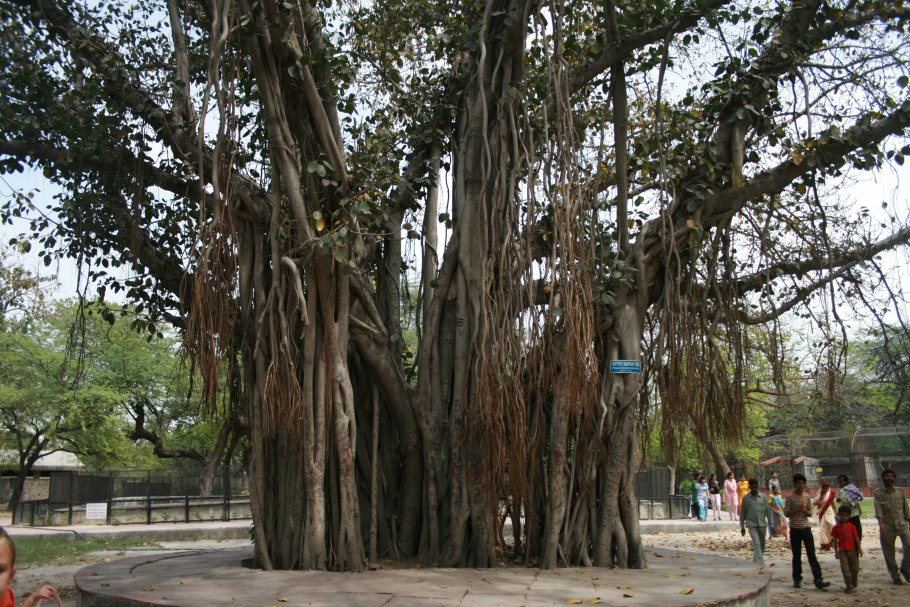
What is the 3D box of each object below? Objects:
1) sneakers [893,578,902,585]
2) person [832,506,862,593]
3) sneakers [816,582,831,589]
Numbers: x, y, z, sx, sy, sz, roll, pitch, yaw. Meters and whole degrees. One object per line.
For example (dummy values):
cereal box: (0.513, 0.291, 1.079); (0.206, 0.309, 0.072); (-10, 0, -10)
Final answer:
sneakers: (6.053, 3.782, 10.468); (0.139, 0.056, 0.234); (-7, -11, 25)
person: (5.267, 3.253, 10.320); (0.276, 1.070, 0.846); (-6, -9, 25)
sneakers: (4.931, 3.745, 10.266); (0.231, 0.083, 0.123); (4, -11, -34)
